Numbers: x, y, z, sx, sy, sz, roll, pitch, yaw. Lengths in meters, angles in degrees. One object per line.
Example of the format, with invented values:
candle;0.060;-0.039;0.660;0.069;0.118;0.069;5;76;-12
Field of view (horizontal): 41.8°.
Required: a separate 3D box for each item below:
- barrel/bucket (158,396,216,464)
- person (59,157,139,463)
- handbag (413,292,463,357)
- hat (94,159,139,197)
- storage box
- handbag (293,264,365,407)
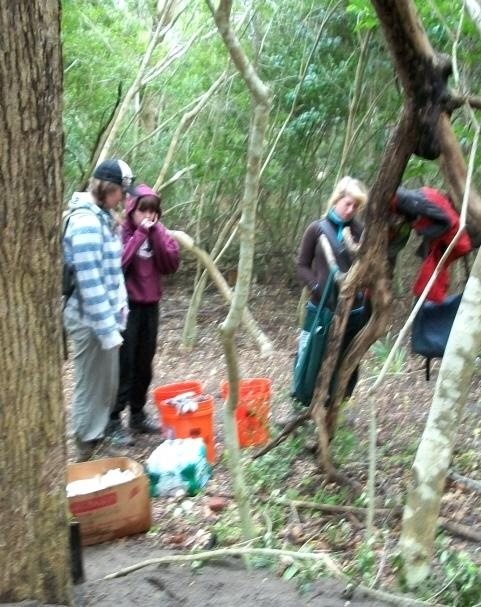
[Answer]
barrel/bucket;-0.284;0.762;3.838;0.349;0.424;0.372;-2;6;0
person;-0.904;0.063;3.909;0.402;1.892;0.503;3;10;-11
handbag;0.935;0.100;2.989;0.171;0.357;0.263;3;9;-19
hat;-0.759;-0.796;3.942;0.268;0.163;0.183;18;18;-41
storage box;-0.721;0.958;3.122;0.436;0.289;0.448;0;9;-43
handbag;0.519;0.254;3.676;0.350;0.939;0.639;4;10;-3
